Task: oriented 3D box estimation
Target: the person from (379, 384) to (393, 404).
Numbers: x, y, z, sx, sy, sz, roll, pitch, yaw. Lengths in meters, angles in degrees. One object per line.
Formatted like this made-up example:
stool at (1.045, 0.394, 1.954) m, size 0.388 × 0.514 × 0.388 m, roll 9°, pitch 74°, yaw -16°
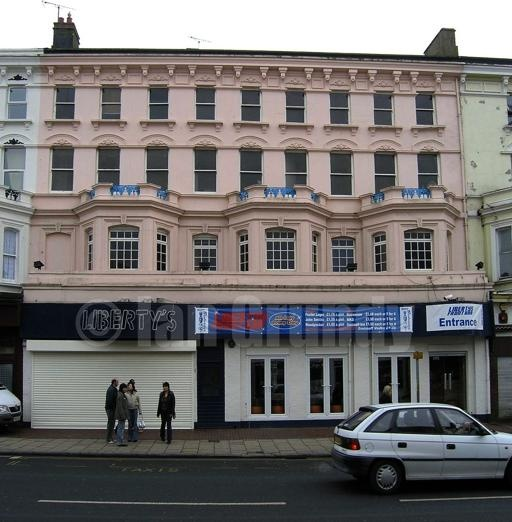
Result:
person at (4.422, 4.571, 28.966) m, size 0.421 × 0.655 × 0.854 m, roll 0°, pitch 4°, yaw 8°

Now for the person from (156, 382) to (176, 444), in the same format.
person at (-2.761, 4.671, 26.037) m, size 0.512 × 1.836 × 1.149 m, roll -1°, pitch 4°, yaw -6°

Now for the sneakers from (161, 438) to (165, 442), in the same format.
sneakers at (-2.853, 5.470, 25.944) m, size 0.111 × 0.127 × 0.114 m, roll -1°, pitch -3°, yaw 32°
